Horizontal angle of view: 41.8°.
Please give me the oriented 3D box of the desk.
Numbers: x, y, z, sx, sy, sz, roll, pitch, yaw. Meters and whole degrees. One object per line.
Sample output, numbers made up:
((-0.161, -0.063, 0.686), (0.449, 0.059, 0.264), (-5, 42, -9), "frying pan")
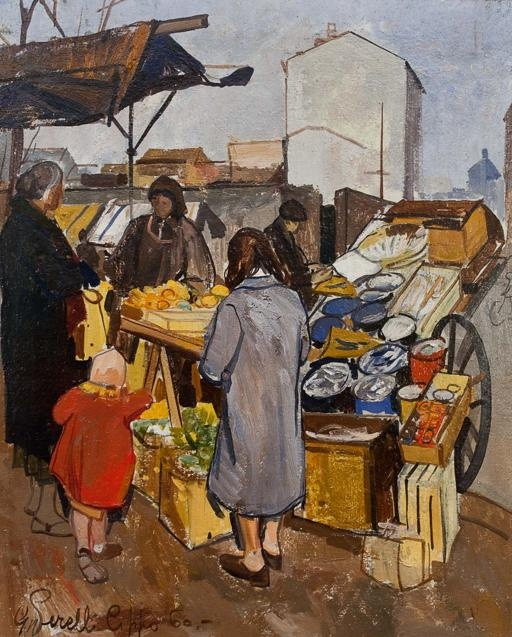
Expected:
((-0.509, 0.146, 3.840), (0.541, 0.484, 0.400), (4, 42, -20), "desk")
